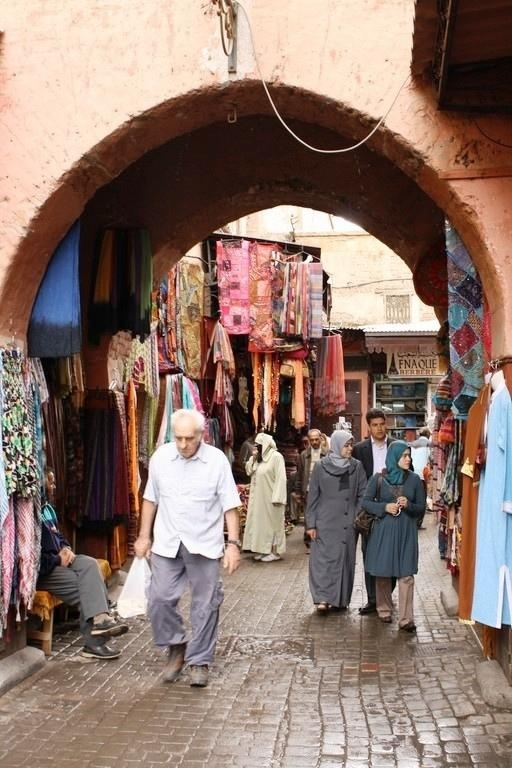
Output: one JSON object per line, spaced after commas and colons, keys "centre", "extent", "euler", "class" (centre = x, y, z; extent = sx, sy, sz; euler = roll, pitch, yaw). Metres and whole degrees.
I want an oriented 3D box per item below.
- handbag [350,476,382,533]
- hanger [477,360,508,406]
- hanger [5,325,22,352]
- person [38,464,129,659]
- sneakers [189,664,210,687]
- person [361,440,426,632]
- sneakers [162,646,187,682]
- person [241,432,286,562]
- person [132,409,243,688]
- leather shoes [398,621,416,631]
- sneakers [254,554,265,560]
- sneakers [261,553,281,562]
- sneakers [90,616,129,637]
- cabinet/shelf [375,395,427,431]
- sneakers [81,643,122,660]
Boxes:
{"centre": [0.844, 0.961, 5.236], "extent": [0.130, 0.406, 0.204], "euler": [-26, 50, -32], "class": "handbag"}
{"centre": [1.214, 0.005, 3.470], "extent": [0.074, 0.089, 0.222], "euler": [-10, -34, -9], "class": "hanger"}
{"centre": [-1.442, -0.266, 4.041], "extent": [0.025, 0.105, 0.101], "euler": [-5, -11, 10], "class": "hanger"}
{"centre": [-1.066, 1.192, 4.242], "extent": [0.582, 0.987, 0.441], "euler": [0, -8, -2], "class": "person"}
{"centre": [-0.303, 1.534, 3.623], "extent": [0.105, 0.097, 0.194], "euler": [0, -9, -5], "class": "sneakers"}
{"centre": [1.039, 1.118, 5.131], "extent": [0.482, 1.360, 0.361], "euler": [-2, -8, 12], "class": "person"}
{"centre": [-0.452, 1.523, 3.738], "extent": [0.072, 0.104, 0.226], "euler": [3, -7, 1], "class": "sneakers"}
{"centre": [0.117, 1.520, 9.265], "extent": [0.538, 1.663, 0.570], "euler": [0, -8, -1], "class": "person"}
{"centre": [-0.371, 0.877, 3.705], "extent": [0.565, 1.436, 0.604], "euler": [-1, -8, 3], "class": "person"}
{"centre": [1.090, 1.739, 4.912], "extent": [0.138, 0.064, 0.109], "euler": [-6, -10, 29], "class": "leather shoes"}
{"centre": [0.042, 2.302, 9.073], "extent": [0.115, 0.056, 0.053], "euler": [5, -6, -2], "class": "sneakers"}
{"centre": [0.200, 2.284, 9.004], "extent": [0.251, 0.122, 0.096], "euler": [0, -4, -17], "class": "sneakers"}
{"centre": [-0.876, 1.453, 4.100], "extent": [0.257, 0.136, 0.111], "euler": [-9, -17, 21], "class": "sneakers"}
{"centre": [4.187, 0.805, 19.369], "extent": [0.977, 1.039, 0.358], "euler": [1, 3, 4], "class": "cabinet/shelf"}
{"centre": [-0.956, 1.647, 4.250], "extent": [0.249, 0.131, 0.100], "euler": [0, -2, 8], "class": "sneakers"}
